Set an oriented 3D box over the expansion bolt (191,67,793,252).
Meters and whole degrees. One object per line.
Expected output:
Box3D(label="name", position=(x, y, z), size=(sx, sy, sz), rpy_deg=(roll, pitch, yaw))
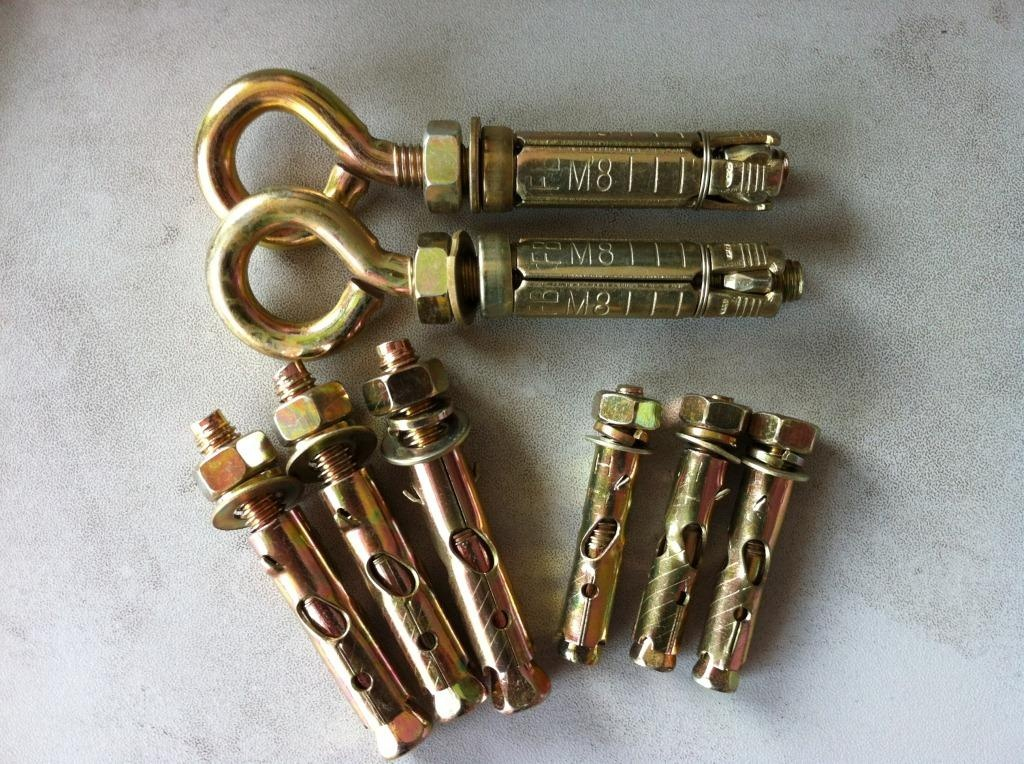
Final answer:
Box3D(label="expansion bolt", position=(-0.048, -0.557, 2.896), size=(1.374, 0.241, 0.511), rpy_deg=(-1, -94, 1))
